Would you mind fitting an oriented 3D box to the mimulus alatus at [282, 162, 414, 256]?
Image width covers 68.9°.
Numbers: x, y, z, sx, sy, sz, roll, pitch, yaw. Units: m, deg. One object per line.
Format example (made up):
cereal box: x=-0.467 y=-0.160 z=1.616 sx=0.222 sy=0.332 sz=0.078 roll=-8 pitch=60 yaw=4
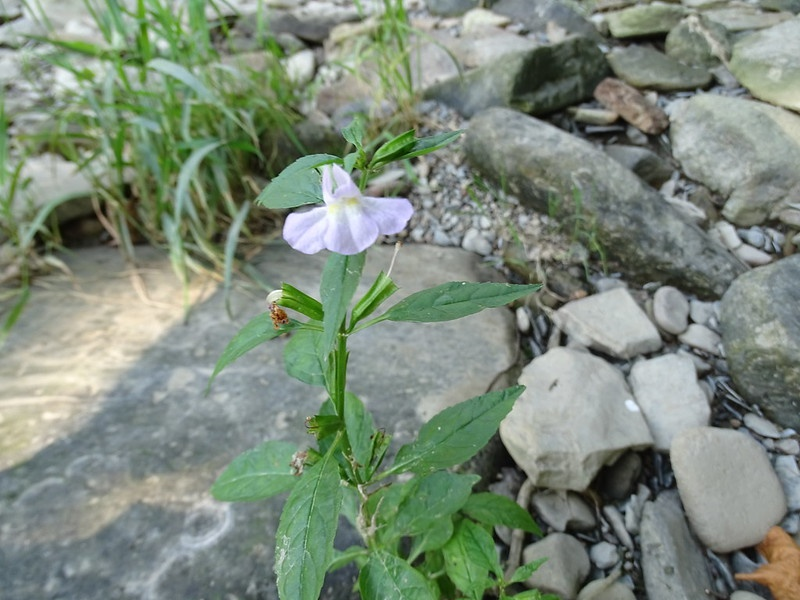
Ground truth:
mimulus alatus: x=-0.148 y=-0.239 z=1.634 sx=0.276 sy=0.128 sz=0.303 roll=-19 pitch=95 yaw=-13
